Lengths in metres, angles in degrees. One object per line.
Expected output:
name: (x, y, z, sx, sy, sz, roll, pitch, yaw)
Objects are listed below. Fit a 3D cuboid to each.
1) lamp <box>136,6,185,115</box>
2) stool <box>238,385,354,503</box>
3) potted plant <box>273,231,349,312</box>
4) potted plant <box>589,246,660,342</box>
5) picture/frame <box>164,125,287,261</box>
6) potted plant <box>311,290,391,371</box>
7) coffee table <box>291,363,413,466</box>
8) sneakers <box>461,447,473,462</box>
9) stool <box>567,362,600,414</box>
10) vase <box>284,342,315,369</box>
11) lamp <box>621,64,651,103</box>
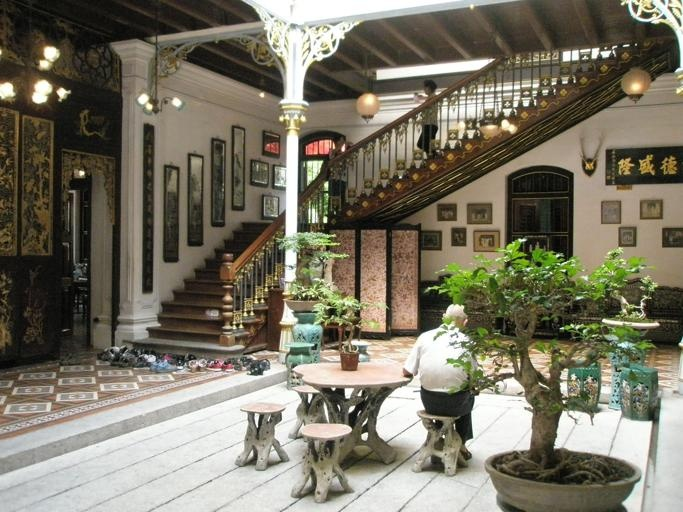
lamp: (-2.999, -3.100, 8.686, 0.623, 1.680, 1.735, 0, 5, -18)
stool: (-0.186, 1.563, 4.436, 0.793, 0.283, 0.701, 5, 3, 43)
potted plant: (-0.480, 0.198, 7.884, 1.192, 1.105, 1.160, 0, 5, -5)
potted plant: (3.640, 0.468, 6.626, 0.867, 0.877, 0.826, 3, -5, 7)
picture/frame: (-2.394, -1.406, 10.865, 0.201, 2.750, 3.327, 4, 5, 28)
potted plant: (0.129, 0.796, 5.451, 0.800, 0.782, 0.771, -1, -11, 0)
coffee table: (0.132, 1.520, 4.969, 1.235, 0.777, 1.242, -3, -25, 10)
sneakers: (1.138, 1.805, 4.776, 0.079, 0.144, 0.160, -14, 3, 18)
stool: (2.936, 1.597, 6.359, 0.367, 0.491, 0.347, -9, -9, -3)
vase: (-0.586, 1.290, 6.910, 0.367, 0.339, 0.355, -1, 5, -25)
lamp: (4.991, -2.918, 8.893, 0.539, 0.555, 0.516, 0, 2, 0)
